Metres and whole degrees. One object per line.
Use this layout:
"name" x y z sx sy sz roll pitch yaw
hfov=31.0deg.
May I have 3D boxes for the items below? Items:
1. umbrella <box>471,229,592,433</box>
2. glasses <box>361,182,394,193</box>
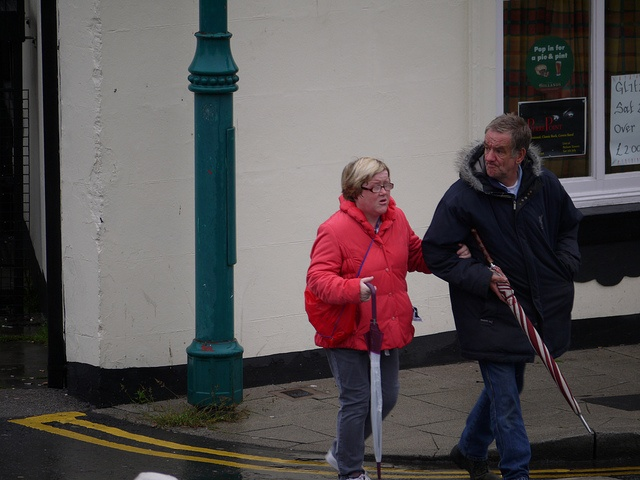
"umbrella" 1.540 0.718 8.552 0.139 1.850 0.139 -36 2 -36
"glasses" 0.436 -0.370 8.160 0.262 0.067 0.107 -11 17 -41
